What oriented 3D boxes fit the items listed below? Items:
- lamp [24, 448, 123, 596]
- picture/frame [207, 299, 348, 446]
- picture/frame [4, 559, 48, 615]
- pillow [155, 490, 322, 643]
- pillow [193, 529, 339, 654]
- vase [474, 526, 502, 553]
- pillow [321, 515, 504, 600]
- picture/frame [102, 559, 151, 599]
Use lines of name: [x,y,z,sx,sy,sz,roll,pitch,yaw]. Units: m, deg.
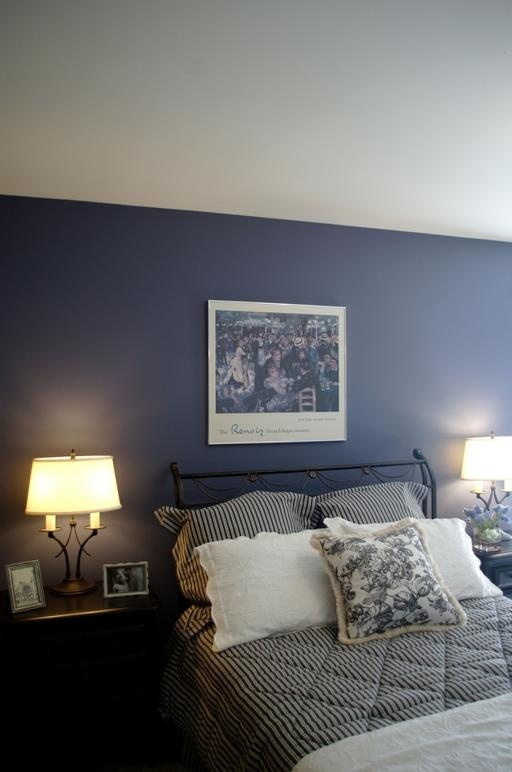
lamp: [-0.787,0.578,2.509,0.366,0.588,0.411,1,-2,-19]
picture/frame: [0.083,-0.066,3.065,0.753,0.759,0.017,-1,0,-19]
picture/frame: [-0.921,0.802,2.311,0.191,0.278,0.019,6,-34,-40]
pillow: [-0.096,0.650,2.604,0.543,0.511,0.164,-2,-30,-39]
pillow: [0.026,0.722,2.144,0.492,0.297,0.146,-5,-30,-34]
vase: [1.249,0.825,3.140,0.122,0.127,0.127,-1,-9,11]
pillow: [0.550,0.796,2.583,0.520,0.354,0.158,-23,-6,36]
picture/frame: [-0.550,0.818,2.452,0.188,0.150,0.021,3,-14,-27]
